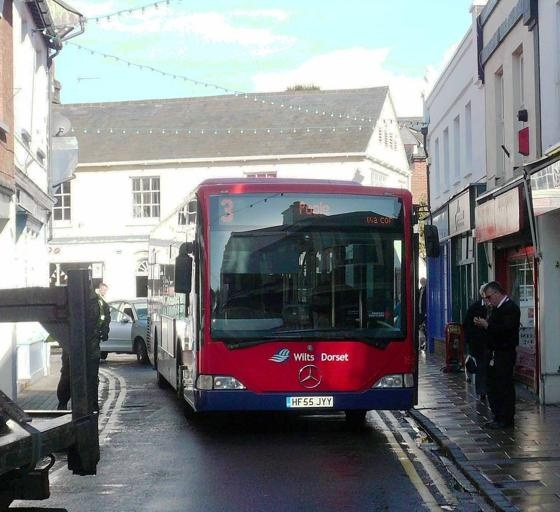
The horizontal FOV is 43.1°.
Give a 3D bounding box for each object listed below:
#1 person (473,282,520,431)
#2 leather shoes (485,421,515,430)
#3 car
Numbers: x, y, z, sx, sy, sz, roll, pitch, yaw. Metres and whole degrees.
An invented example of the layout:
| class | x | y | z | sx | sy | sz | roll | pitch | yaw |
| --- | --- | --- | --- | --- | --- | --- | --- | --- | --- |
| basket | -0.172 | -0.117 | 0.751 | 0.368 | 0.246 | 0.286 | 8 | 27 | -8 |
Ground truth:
| class | x | y | z | sx | sy | sz | roll | pitch | yaw |
| --- | --- | --- | --- | --- | --- | --- | --- | --- | --- |
| person | 2.867 | 1.280 | 9.224 | 0.478 | 1.877 | 0.400 | -1 | -2 | 20 |
| leather shoes | 2.811 | 2.179 | 9.079 | 0.352 | 0.074 | 0.166 | -2 | -4 | 10 |
| car | -4.398 | 2.187 | 21.263 | 2.203 | 1.367 | 1.360 | -4 | -5 | 38 |
